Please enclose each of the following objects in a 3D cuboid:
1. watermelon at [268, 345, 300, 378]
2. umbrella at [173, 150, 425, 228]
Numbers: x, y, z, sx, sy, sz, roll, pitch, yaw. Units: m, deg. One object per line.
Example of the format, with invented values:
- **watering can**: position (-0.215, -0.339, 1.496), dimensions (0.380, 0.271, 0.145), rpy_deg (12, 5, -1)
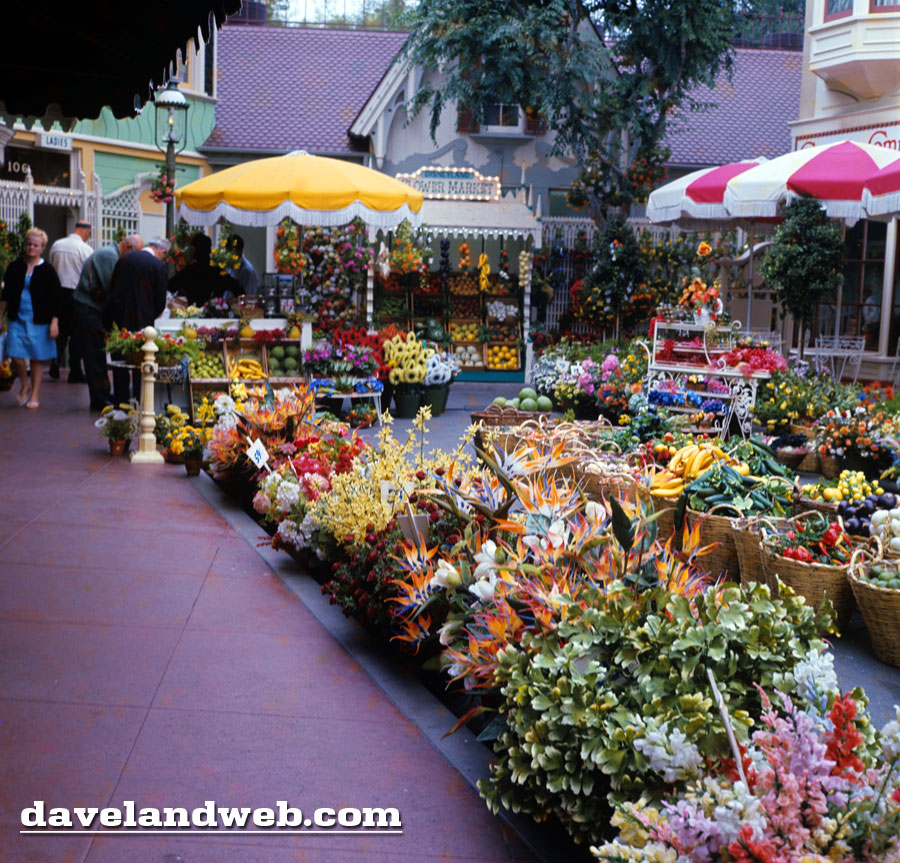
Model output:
- **watermelon**: position (-1.939, -0.823, 10.464), dimensions (0.281, 0.161, 0.346), rpy_deg (3, 11, 6)
- **umbrella**: position (-1.748, -2.805, 10.383), dimensions (2.760, 0.925, 0.788), rpy_deg (5, 5, -2)
